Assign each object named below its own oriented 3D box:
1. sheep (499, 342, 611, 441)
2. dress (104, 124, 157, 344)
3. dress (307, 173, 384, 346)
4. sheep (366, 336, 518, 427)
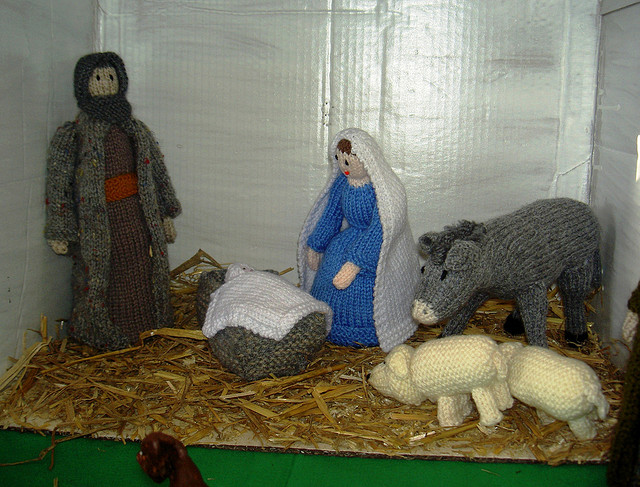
[{"bbox_3d":[0.749,0.497,1.945,0.358,0.273,0.161,12,23,27],"label":"sheep"},{"bbox_3d":[-0.772,-0.037,2.371,0.182,0.843,0.280,-3,21,-10],"label":"dress"},{"bbox_3d":[0.123,0.070,2.402,0.286,0.690,0.321,2,22,14],"label":"dress"},{"bbox_3d":[0.444,0.479,2.041,0.557,0.268,0.205,-11,2,21],"label":"sheep"}]
